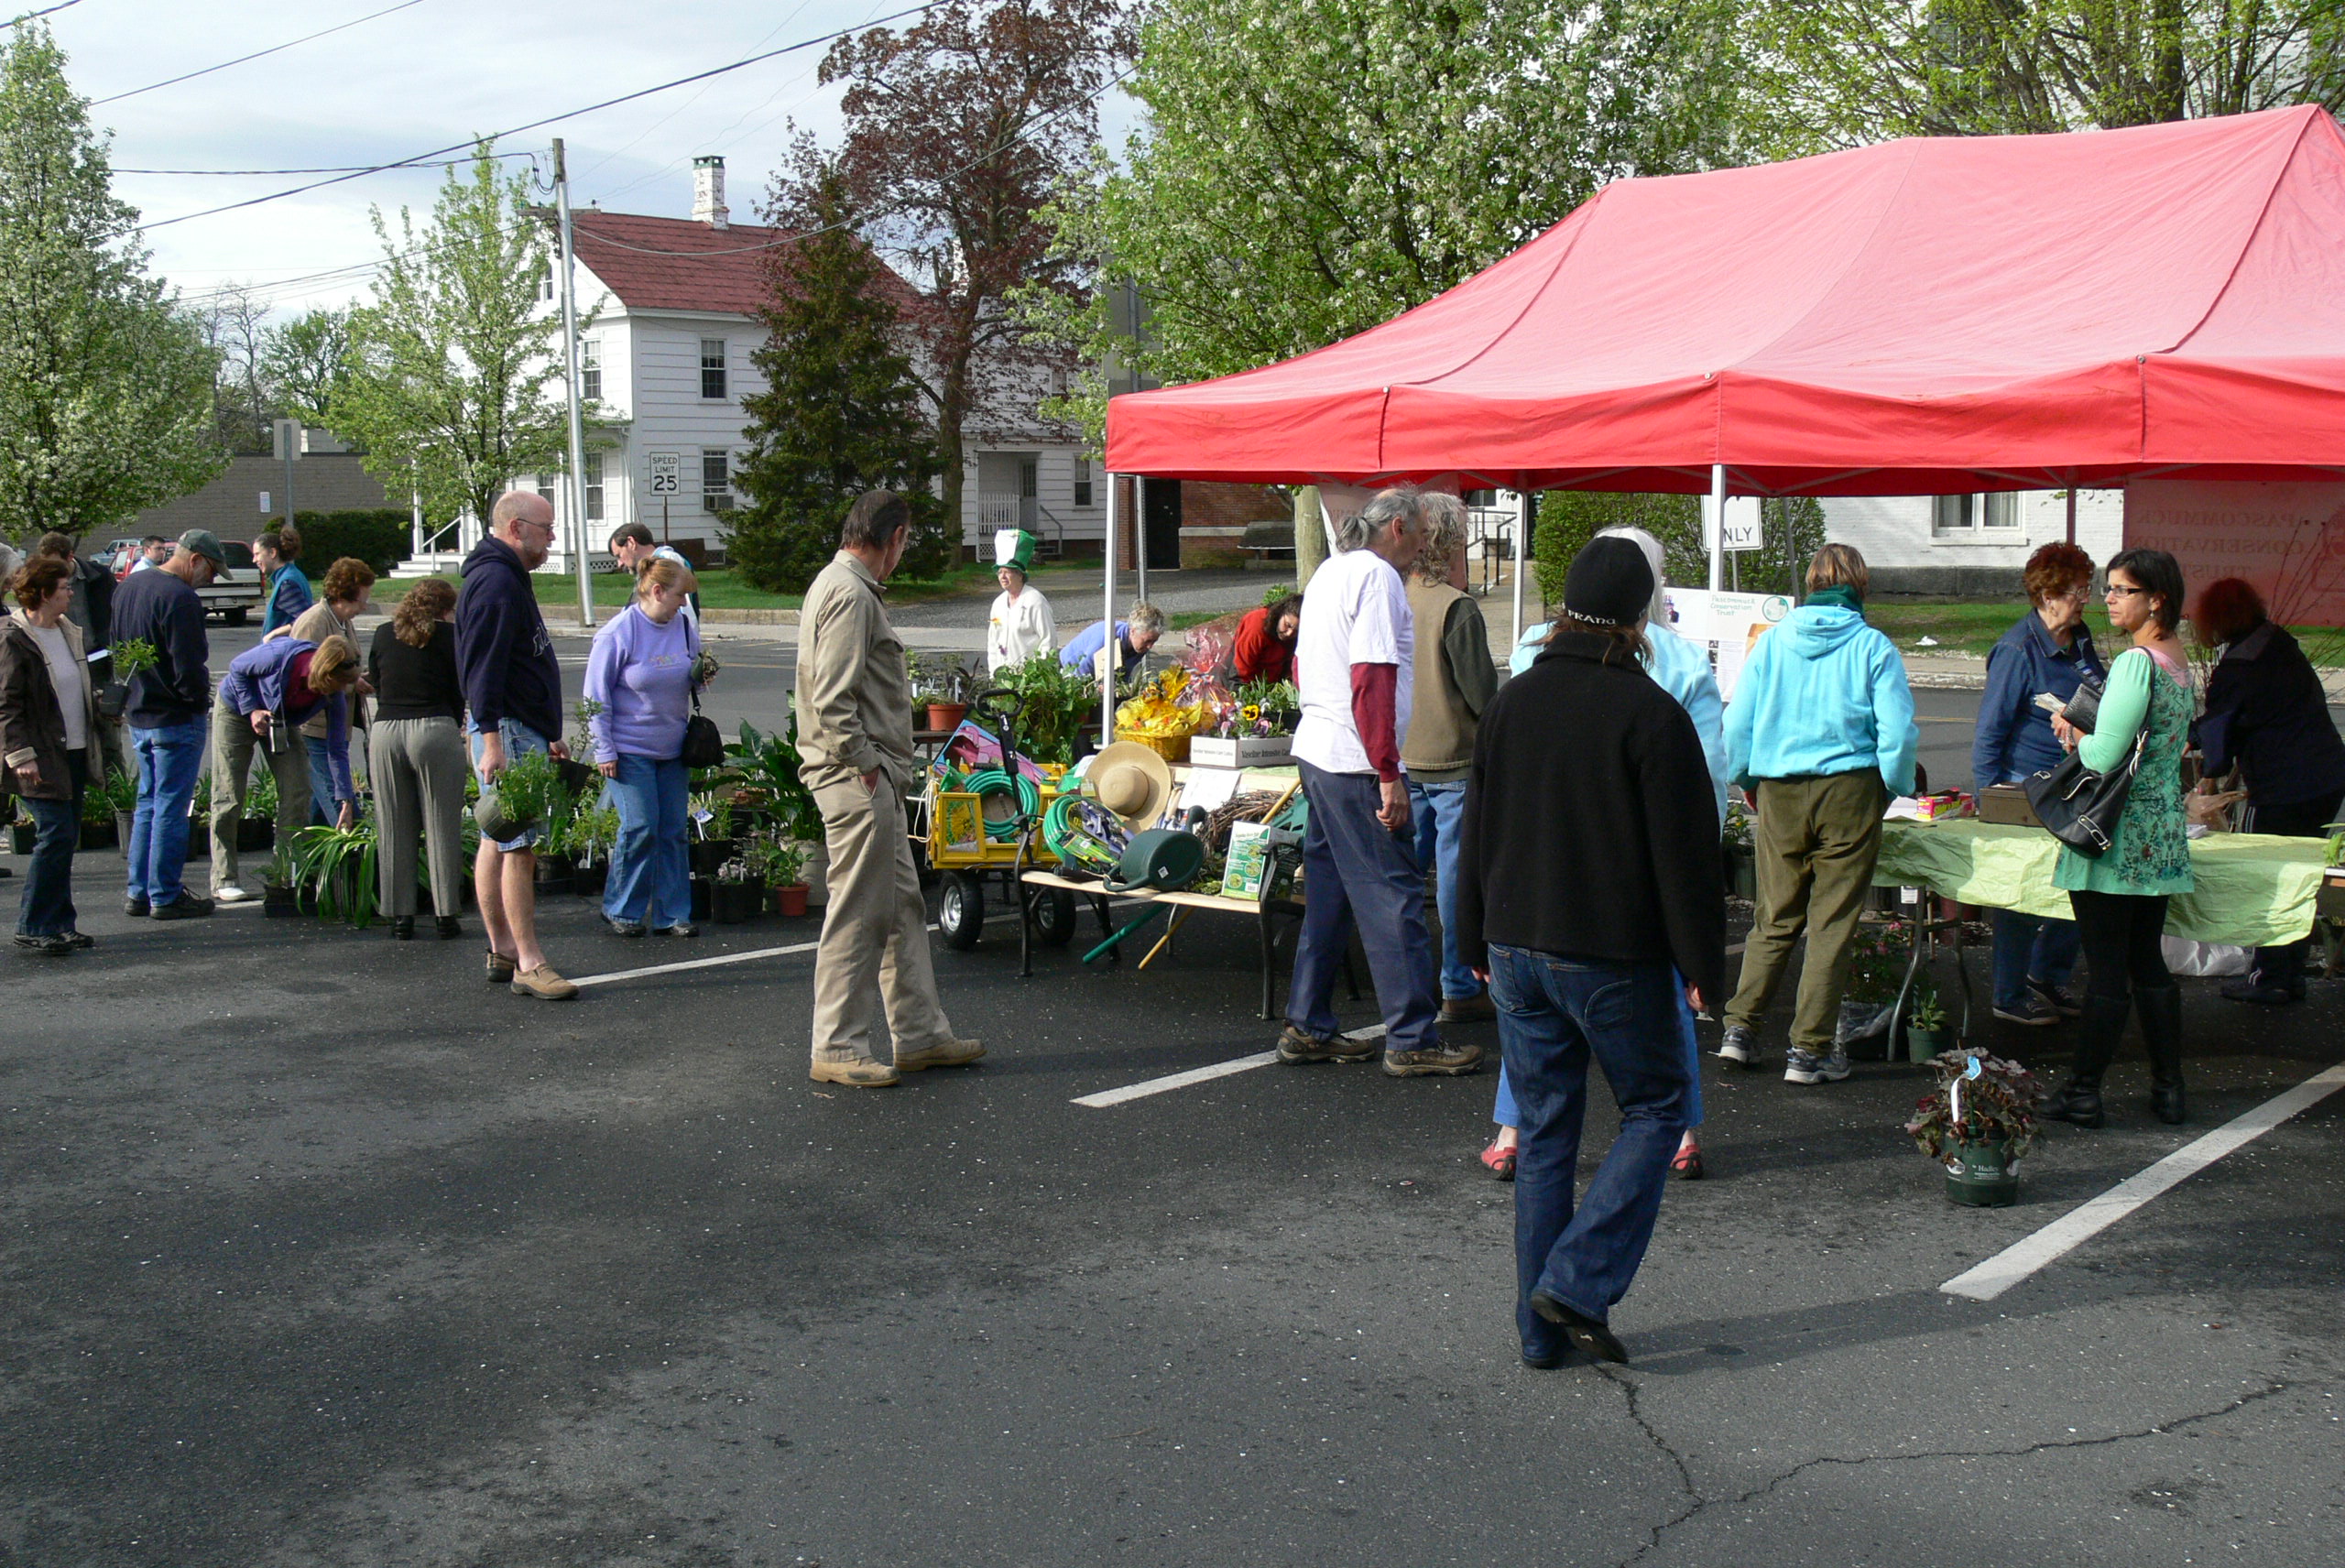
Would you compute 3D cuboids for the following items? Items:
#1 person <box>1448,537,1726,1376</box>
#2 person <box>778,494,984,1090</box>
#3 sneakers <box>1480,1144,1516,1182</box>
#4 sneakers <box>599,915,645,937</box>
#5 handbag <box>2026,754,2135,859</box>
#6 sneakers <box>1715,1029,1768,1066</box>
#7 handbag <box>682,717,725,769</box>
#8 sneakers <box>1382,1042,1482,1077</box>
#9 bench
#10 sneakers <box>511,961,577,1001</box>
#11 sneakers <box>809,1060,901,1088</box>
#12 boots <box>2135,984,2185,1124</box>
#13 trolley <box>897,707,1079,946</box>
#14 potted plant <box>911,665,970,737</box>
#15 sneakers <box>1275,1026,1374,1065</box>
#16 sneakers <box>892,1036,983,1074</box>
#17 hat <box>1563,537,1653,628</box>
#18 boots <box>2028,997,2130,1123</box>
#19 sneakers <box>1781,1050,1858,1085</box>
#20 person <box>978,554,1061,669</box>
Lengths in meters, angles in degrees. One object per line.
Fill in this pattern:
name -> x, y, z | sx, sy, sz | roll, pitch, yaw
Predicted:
person -> 1.403, 0.593, 7.396 | 0.818, 2.696, 0.666 | -1, 13, 1
person -> -1.349, 0.040, 9.945 | 0.684, 2.637, 0.517 | -4, 13, -15
sneakers -> 1.334, 1.526, 8.931 | 0.144, 0.090, 0.249 | 3, -7, 21
sneakers -> -3.250, 0.844, 13.063 | 0.267, 0.125, 0.101 | 11, 4, 39
handbag -> 3.776, 0.104, 9.092 | 0.149, 0.313, 0.305 | 12, 26, -34
sneakers -> 2.638, 1.228, 10.224 | 0.127, 0.146, 0.215 | -3, -13, 34
handbag -> -2.751, -0.226, 12.930 | 0.314, 0.333, 0.152 | 1, 11, 10
sneakers -> 1.207, 1.267, 10.159 | 0.421, 0.210, 0.163 | -3, 6, -11
bench -> -0.023, 0.482, 11.588 | 0.710, 1.143, 1.769 | -13, 18, -42
sneakers -> -3.272, 1.031, 11.513 | 0.356, 0.145, 0.147 | 4, 9, 38
sneakers -> -1.448, 1.296, 9.978 | 0.336, 0.140, 0.146 | -2, 2, 12
boots -> 4.235, 1.120, 9.380 | 0.262, 0.632, 0.175 | 2, 13, 12
trolley -> -1.030, 0.236, 12.617 | 0.823, 1.210, 1.367 | 1, 3, -18
potted plant -> -1.429, -0.518, 13.723 | 0.399, 0.490, 0.447 | -1, -5, 31
sneakers -> 0.719, 1.228, 10.364 | 0.452, 0.200, 0.178 | -2, 5, -9
sneakers -> -1.072, 1.257, 10.316 | 0.434, 0.200, 0.154 | -6, 14, -15
hat -> 1.498, -0.684, 7.422 | 0.223, 0.178, 0.325 | 8, 46, 23
boots -> 4.013, 1.111, 9.639 | 0.261, 0.602, 0.829 | 4, 14, 22
sneakers -> 2.948, 1.276, 10.003 | 0.338, 0.158, 0.130 | -6, 8, -34
person -> -1.093, -1.250, 16.046 | 0.419, 0.895, 1.065 | -2, 13, -4
